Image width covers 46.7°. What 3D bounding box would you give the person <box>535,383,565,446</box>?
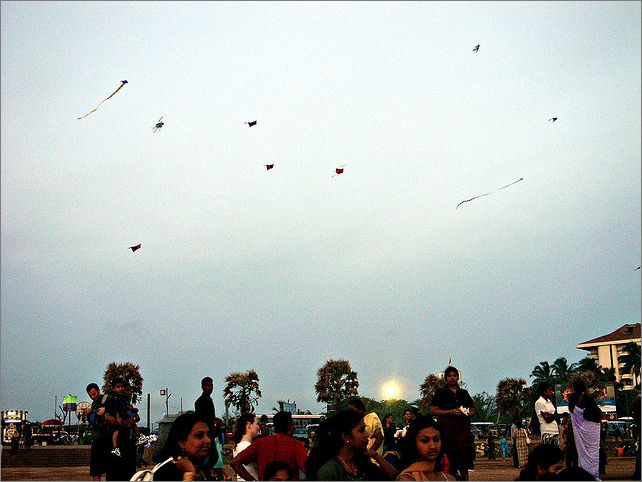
[{"bbox_3d":[5.067,4.095,16.323,0.497,1.967,0.379,-7,2,-31],"label":"person"}]

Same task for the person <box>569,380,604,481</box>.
[{"bbox_3d":[5.694,3.981,15.689,0.633,2.026,0.715,-5,-19,12],"label":"person"}]
